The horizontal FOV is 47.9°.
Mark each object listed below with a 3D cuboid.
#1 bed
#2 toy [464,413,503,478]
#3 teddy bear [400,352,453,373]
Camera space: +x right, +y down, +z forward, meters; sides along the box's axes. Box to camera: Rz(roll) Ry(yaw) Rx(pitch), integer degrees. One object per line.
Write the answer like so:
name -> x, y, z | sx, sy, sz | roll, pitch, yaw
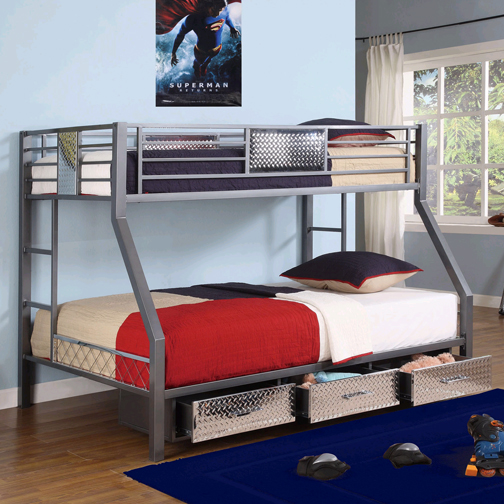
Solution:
bed -> 0.036, 0.028, 3.094 | 2.132, 1.296, 1.210 | -6, 8, -41
toy -> 0.797, 0.668, 1.948 | 0.121, 0.203, 0.134 | -1, -1, 25
teddy bear -> 0.894, 0.571, 2.901 | 0.196, 0.051, 0.124 | -4, -1, -25
